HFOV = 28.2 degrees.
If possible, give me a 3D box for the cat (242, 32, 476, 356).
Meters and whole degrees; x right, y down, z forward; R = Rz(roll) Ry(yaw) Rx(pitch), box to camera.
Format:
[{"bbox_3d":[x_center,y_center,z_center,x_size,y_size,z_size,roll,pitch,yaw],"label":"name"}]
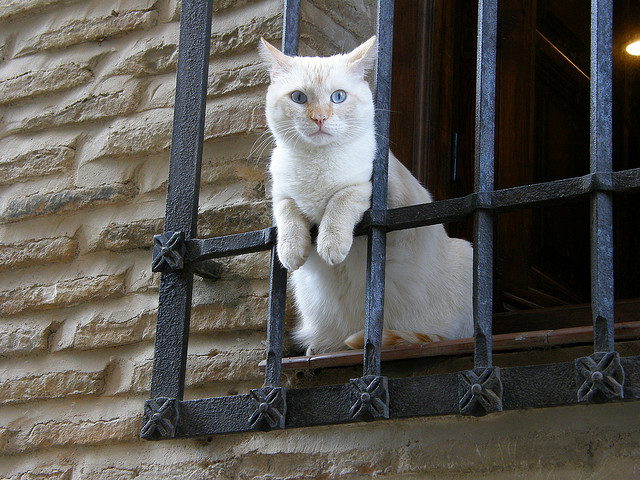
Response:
[{"bbox_3d":[0.181,-0.146,4.968,0.641,1.397,0.712,-4,34,16],"label":"cat"}]
